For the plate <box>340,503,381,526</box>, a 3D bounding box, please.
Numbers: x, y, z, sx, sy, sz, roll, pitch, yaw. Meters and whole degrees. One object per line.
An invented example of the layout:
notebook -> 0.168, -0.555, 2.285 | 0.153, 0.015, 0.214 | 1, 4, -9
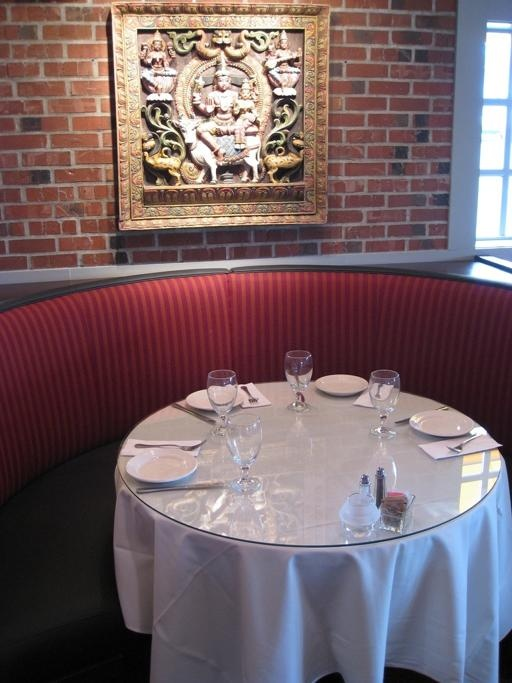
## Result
plate -> 0.171, 0.289, 0.925 | 0.066, 0.048, 0.048 | 0, 15, 6

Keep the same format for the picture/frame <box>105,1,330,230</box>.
picture/frame -> -0.189, -0.942, 2.267 | 0.907, 0.939, 0.037 | -2, 13, -13

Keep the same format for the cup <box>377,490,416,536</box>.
cup -> 0.238, 0.286, 0.936 | 0.043, 0.063, 0.064 | 4, 0, 23
